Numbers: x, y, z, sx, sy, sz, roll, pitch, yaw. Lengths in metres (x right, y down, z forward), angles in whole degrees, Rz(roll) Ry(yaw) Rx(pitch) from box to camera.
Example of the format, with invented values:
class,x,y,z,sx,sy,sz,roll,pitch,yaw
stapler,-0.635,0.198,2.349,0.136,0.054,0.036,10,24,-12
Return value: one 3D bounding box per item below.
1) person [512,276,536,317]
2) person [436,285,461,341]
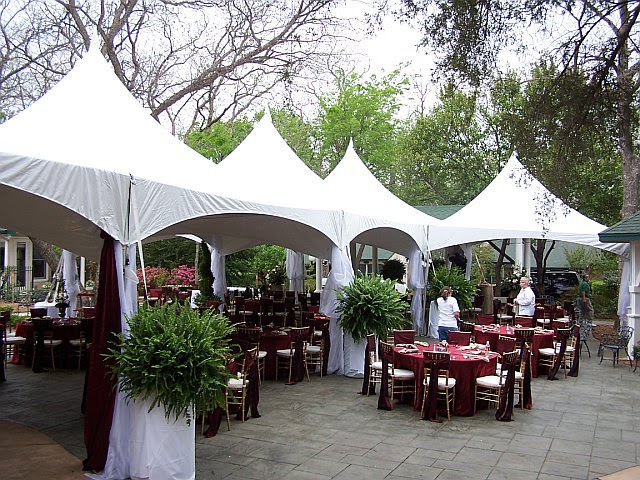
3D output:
class,x,y,z,sx,sy,sz,roll,pitch,yaw
person,5.599,1.736,13.320,0.551,1.474,0.562,-1,13,16
person,2.844,1.651,10.785,0.418,1.294,0.858,1,0,15
